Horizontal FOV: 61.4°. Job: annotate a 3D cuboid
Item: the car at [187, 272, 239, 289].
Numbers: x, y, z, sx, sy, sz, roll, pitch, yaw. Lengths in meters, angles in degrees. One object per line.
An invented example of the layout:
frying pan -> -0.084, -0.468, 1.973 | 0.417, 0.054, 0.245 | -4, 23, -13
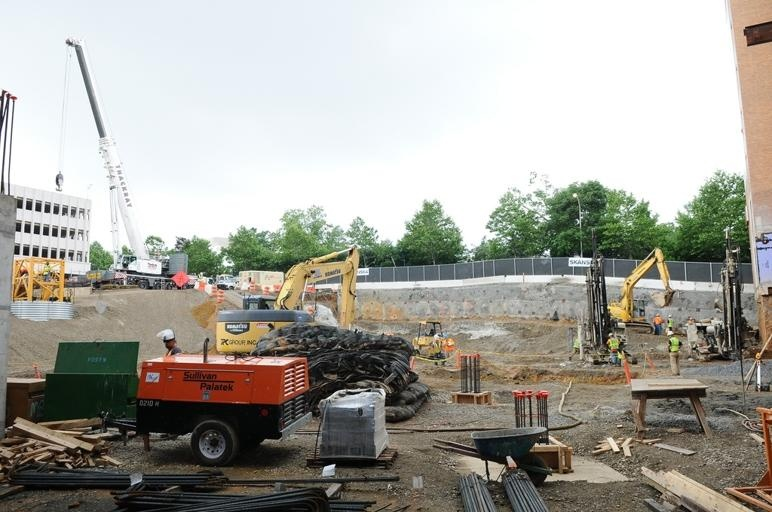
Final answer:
car -> -17.852, 2.460, 67.357 | 4.031, 1.730, 1.447 | -1, 2, -7

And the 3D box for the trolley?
trolley -> 2.498, 4.735, 15.526 | 2.753, 1.209, 1.205 | 0, -12, -2

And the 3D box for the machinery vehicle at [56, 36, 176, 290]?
machinery vehicle -> -18.904, -6.031, 50.118 | 12.020, 19.173, 3.956 | 8, 21, -8

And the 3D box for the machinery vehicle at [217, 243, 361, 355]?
machinery vehicle -> -3.830, 1.748, 26.508 | 6.173, 3.847, 2.085 | -1, 4, -19

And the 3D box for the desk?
desk -> 8.052, 4.241, 18.566 | 1.953, 1.484, 2.822 | -3, -8, 20

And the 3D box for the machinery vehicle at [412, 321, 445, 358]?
machinery vehicle -> 2.499, 4.574, 35.995 | 2.153, 1.981, 2.342 | 1, 0, -29

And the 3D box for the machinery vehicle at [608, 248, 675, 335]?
machinery vehicle -> 15.165, 1.919, 39.231 | 3.166, 4.739, 13.362 | -3, -8, 21
